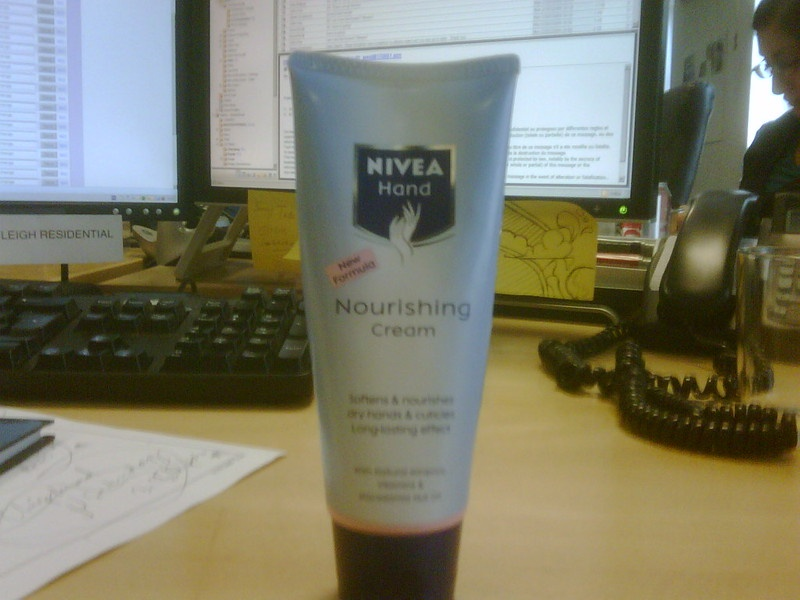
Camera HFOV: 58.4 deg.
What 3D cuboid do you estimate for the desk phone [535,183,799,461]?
[{"bbox_3d":[0.251,-0.001,0.617,0.144,0.111,0.265,8,14,28],"label":"desk phone"}]
